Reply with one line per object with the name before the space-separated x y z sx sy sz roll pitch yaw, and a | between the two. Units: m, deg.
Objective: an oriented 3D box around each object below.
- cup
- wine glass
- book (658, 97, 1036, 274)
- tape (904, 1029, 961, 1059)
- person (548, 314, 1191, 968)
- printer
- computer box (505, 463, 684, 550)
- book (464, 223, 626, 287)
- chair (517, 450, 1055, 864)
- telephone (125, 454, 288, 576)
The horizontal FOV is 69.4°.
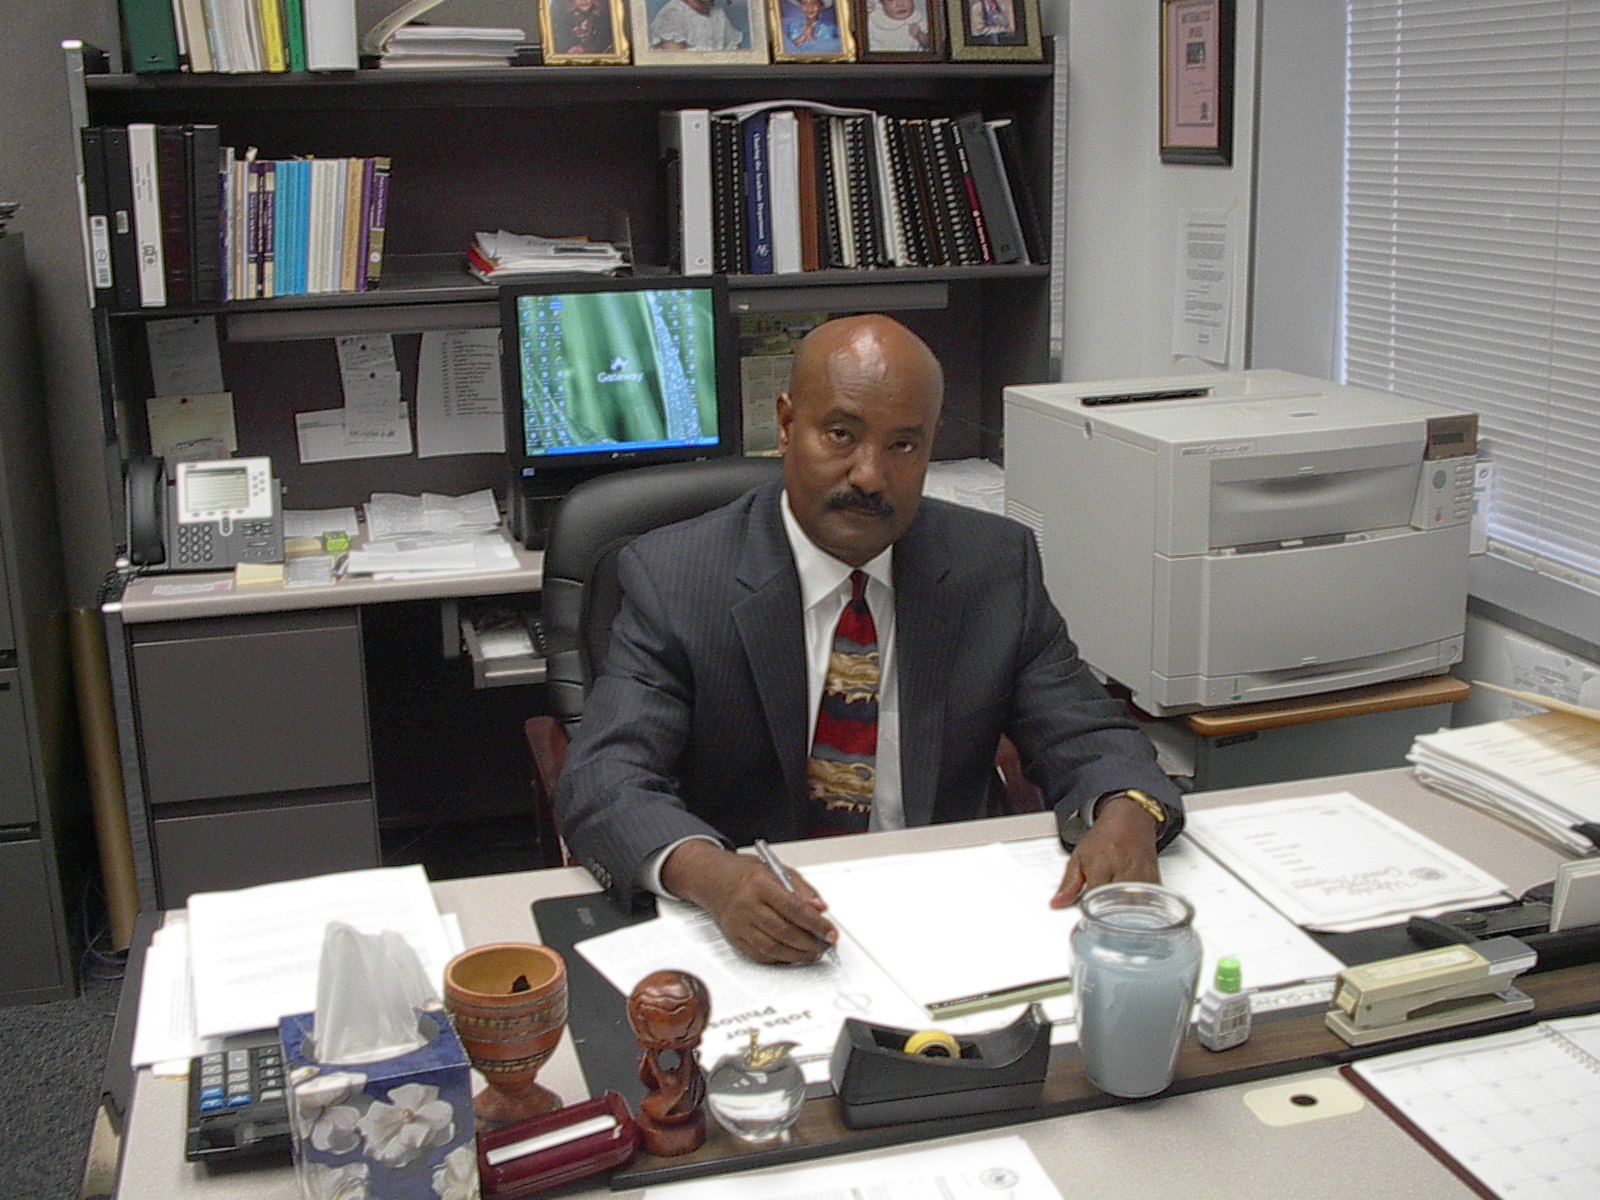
cup | 0.316 0.377 1.116 0.124 0.165 0.123 0 8 0
wine glass | -0.258 0.396 1.033 0.107 0.130 0.105 -2 6 -22
book | 0.116 -1.053 2.986 1.006 0.448 0.384 0 19 -20
tape | 0.119 0.410 1.065 0.031 0.010 0.031 -1 -5 -4
person | 0.057 0.126 1.560 0.587 0.990 0.642 -3 11 -10
printer | 0.798 -0.164 2.319 0.708 0.517 0.707 -6 15 -21
computer box | -0.565 -0.249 2.974 0.311 0.205 0.224 -3 -10 -19
book | -0.639 -0.867 2.965 0.573 0.155 0.491 -1 17 -12
chair | -0.069 0.056 2.156 0.664 0.806 0.663 -1 7 -14
telephone | -1.378 -0.199 2.697 0.337 0.276 0.245 -3 18 -28
